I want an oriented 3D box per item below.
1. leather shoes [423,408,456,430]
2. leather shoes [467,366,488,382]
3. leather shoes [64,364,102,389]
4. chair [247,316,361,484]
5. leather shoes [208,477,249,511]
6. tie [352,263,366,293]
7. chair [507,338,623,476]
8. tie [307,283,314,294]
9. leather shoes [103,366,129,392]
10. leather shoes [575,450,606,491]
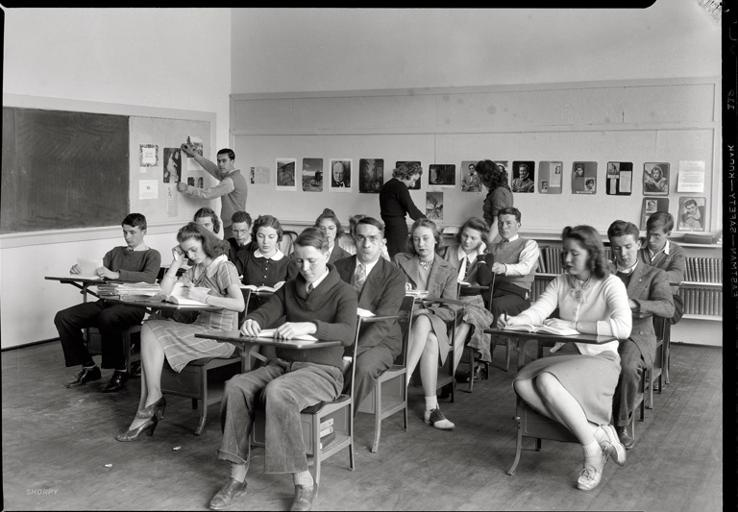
[{"bbox_3d":[0.583,1.350,4.630,0.114,0.139,0.300,-2,-2,-30],"label":"leather shoes"},{"bbox_3d":[1.127,1.204,5.736,0.122,0.161,0.376,-4,-11,18],"label":"leather shoes"},{"bbox_3d":[-2.869,1.196,5.492,0.383,0.181,0.136,-2,1,-39],"label":"leather shoes"},{"bbox_3d":[-0.431,0.907,3.700,0.550,1.060,0.683,-2,-6,22],"label":"chair"},{"bbox_3d":[-0.858,1.469,3.445,0.097,0.129,0.277,0,-6,25],"label":"leather shoes"},{"bbox_3d":[-0.070,0.176,4.503,0.050,0.219,0.124,11,-8,-36],"label":"tie"},{"bbox_3d":[1.258,1.110,4.049,0.655,0.978,0.688,5,6,42],"label":"chair"},{"bbox_3d":[-0.395,0.219,3.790,0.051,0.050,0.014,12,1,42],"label":"tie"},{"bbox_3d":[-2.422,1.207,5.388,0.141,0.156,0.354,0,-5,9],"label":"leather shoes"},{"bbox_3d":[1.448,1.419,3.672,0.117,0.133,0.328,-10,37,48],"label":"leather shoes"}]
